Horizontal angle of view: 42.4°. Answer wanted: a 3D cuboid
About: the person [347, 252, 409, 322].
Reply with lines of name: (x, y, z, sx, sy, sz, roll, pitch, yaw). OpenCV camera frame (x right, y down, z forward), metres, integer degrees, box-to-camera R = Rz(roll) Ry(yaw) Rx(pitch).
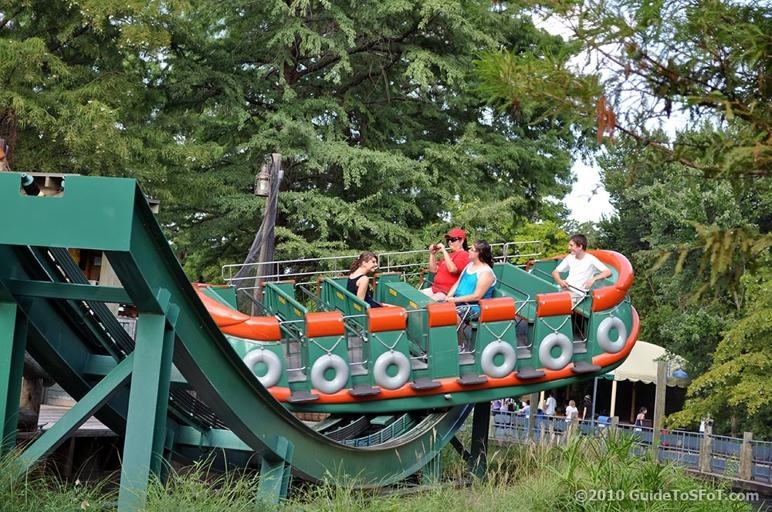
person: (-0.229, 0.465, 17.171, 0.782, 1.087, 0.621, -1, 23, -9)

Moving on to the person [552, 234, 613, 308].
person: (3.362, 0.181, 17.357, 0.795, 0.972, 1.225, 5, 13, 30)

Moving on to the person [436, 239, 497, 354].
person: (1.430, 0.695, 16.670, 0.797, 1.880, 1.347, 4, -11, 1)

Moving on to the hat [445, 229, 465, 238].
hat: (1.255, -0.413, 17.442, 0.295, 0.132, 0.189, 7, -5, -44)
